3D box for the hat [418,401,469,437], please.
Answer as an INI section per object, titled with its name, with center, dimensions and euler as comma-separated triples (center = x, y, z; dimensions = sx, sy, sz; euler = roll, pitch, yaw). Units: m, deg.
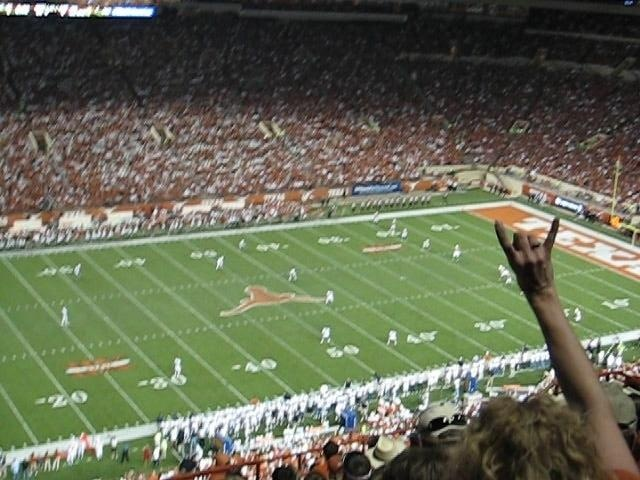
[hat]
center = 1.556, 2.326, 9.684
dimensions = 0.512, 0.412, 0.458
euler = 1, 37, 18
